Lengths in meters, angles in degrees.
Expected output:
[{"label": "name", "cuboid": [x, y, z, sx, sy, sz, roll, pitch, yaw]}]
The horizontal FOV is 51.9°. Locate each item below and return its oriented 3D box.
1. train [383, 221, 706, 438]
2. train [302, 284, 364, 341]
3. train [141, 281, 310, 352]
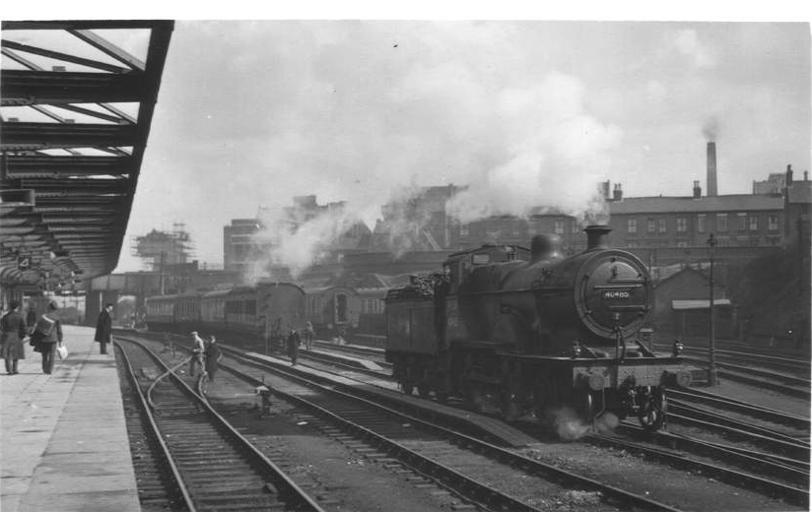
[{"label": "train", "cuboid": [2.943, 1.924, 23.972, 3.689, 4.382, 11.721, 2, -3, -24]}, {"label": "train", "cuboid": [-4.467, 3.512, 51.703, 2.794, 2.832, 6.075, -1, -2, -16]}, {"label": "train", "cuboid": [-10.657, 3.788, 49.595, 3.721, 3.508, 19.322, 2, -6, -27]}]
